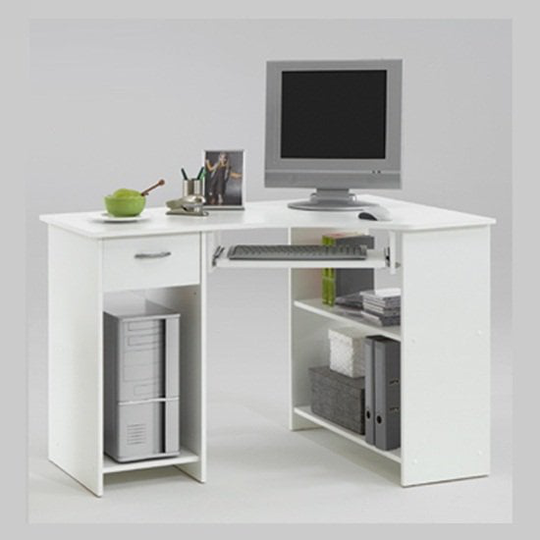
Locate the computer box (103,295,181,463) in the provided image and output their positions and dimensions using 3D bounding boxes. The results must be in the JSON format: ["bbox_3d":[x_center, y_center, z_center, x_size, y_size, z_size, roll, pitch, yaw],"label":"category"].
[{"bbox_3d":[-0.493,0.400,2.282,0.254,0.533,0.327,-2,6,-27],"label":"computer box"}]

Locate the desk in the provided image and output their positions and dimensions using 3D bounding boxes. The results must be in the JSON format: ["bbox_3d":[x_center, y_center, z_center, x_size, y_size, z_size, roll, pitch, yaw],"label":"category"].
[{"bbox_3d":[0.004,0.190,2.315,1.637,0.927,1.094,-2,4,-26],"label":"desk"}]

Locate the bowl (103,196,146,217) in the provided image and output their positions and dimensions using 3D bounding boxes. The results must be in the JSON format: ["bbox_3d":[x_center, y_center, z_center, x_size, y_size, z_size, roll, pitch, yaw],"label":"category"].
[{"bbox_3d":[-0.519,-0.228,2.204,0.098,0.044,0.099,0,2,0],"label":"bowl"}]
